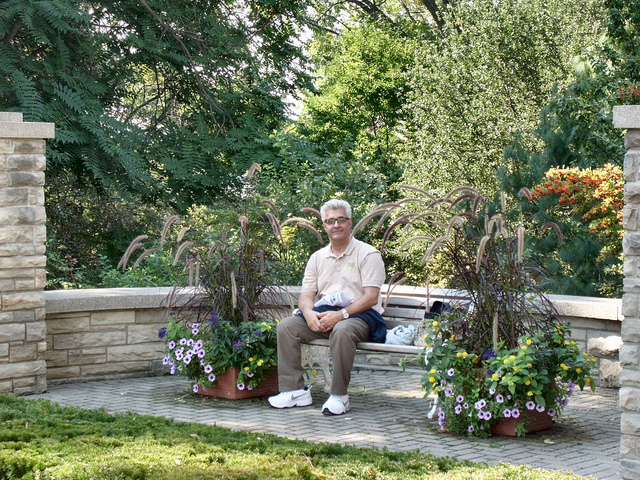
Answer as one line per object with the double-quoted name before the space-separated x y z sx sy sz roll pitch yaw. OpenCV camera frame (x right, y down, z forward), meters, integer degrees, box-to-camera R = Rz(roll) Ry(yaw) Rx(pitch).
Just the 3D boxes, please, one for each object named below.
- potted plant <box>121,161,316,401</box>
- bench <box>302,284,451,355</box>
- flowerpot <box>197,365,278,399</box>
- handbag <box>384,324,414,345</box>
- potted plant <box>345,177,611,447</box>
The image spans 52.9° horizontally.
"potted plant" -0.769 0.630 6.303 1.329 1.785 1.309 3 9 11
"bench" 0.602 0.942 6.330 1.605 0.682 0.774 0 -28 -37
"flowerpot" -0.705 1.433 6.261 0.432 0.191 0.445 4 -6 -42
"handbag" 0.762 0.916 6.139 0.196 0.105 0.241 1 0 12
"potted plant" 1.602 0.712 6.238 2.419 2.743 2.158 3 7 43
